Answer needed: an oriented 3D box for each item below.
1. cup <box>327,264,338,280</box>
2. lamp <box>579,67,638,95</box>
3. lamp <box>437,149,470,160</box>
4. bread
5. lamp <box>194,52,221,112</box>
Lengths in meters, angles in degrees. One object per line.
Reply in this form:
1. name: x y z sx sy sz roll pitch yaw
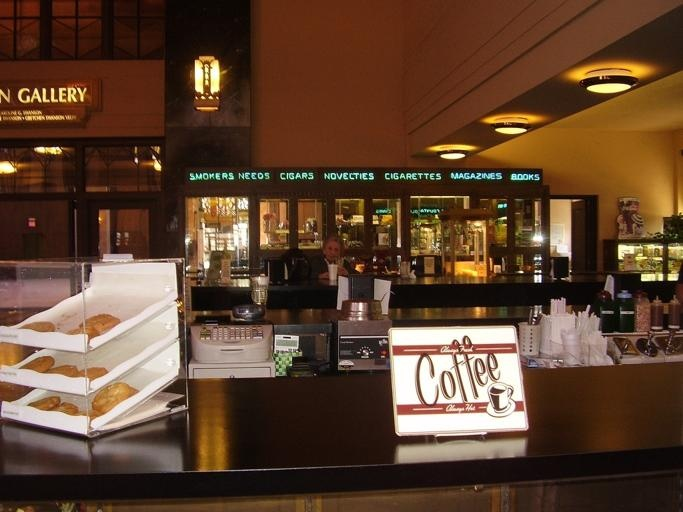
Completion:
1. cup: -0.076 0.171 7.141 0.082 0.143 0.201 -3 6 1
2. lamp: 2.445 -1.582 6.448 0.445 0.178 0.589 2 8 37
3. lamp: 1.476 -1.322 9.259 0.366 0.105 0.317 -3 6 -1
4. bread: -1.103 0.450 2.891 0.523 0.416 0.109 -2 6 8
5. lamp: -1.748 -2.263 9.367 0.360 0.733 0.129 -3 5 -6
